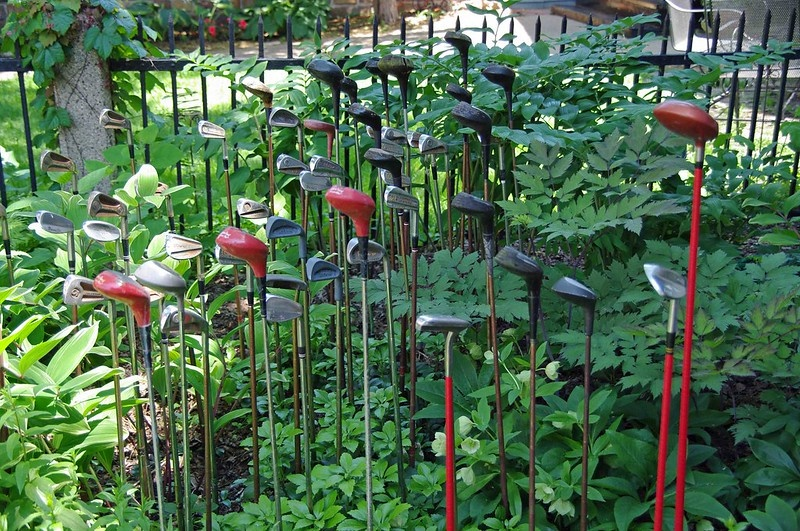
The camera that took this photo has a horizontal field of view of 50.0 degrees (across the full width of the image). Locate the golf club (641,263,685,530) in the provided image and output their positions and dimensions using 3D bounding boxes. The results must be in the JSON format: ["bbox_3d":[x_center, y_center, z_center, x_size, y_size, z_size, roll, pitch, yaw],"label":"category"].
[{"bbox_3d":[1.134,0.571,3.668,0.161,1.189,0.417,0,5,18],"label":"golf club"}]

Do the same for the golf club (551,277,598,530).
[{"bbox_3d":[0.773,0.616,3.823,0.174,1.164,0.437,0,5,11],"label":"golf club"}]
